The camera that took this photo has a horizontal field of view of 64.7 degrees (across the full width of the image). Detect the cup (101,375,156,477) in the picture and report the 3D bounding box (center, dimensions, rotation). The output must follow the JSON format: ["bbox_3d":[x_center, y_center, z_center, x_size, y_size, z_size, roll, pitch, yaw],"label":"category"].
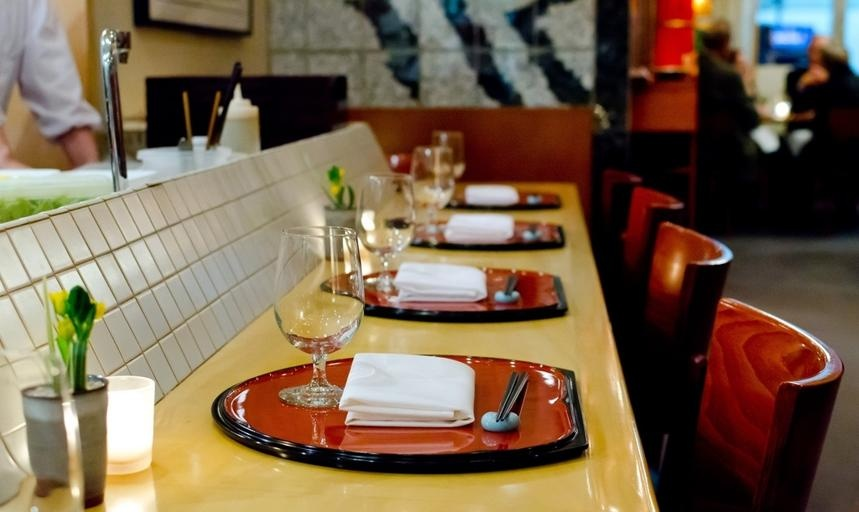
[{"bbox_3d":[-0.417,0.219,0.954,0.065,0.125,0.136,-4,16,-19],"label":"cup"}]

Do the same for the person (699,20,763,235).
[{"bbox_3d":[1.857,-0.797,4.320,0.421,1.303,0.099,2,16,4],"label":"person"}]

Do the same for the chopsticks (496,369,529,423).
[{"bbox_3d":[0.123,0.205,1.011,0.023,0.027,0.098,10,26,11],"label":"chopsticks"}]

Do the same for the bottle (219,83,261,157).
[{"bbox_3d":[-0.489,-0.339,1.740,0.102,0.168,0.101,6,32,-4],"label":"bottle"}]

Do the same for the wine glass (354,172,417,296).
[{"bbox_3d":[-0.100,-0.060,1.525,0.137,0.296,0.131,-1,25,-7],"label":"wine glass"}]
